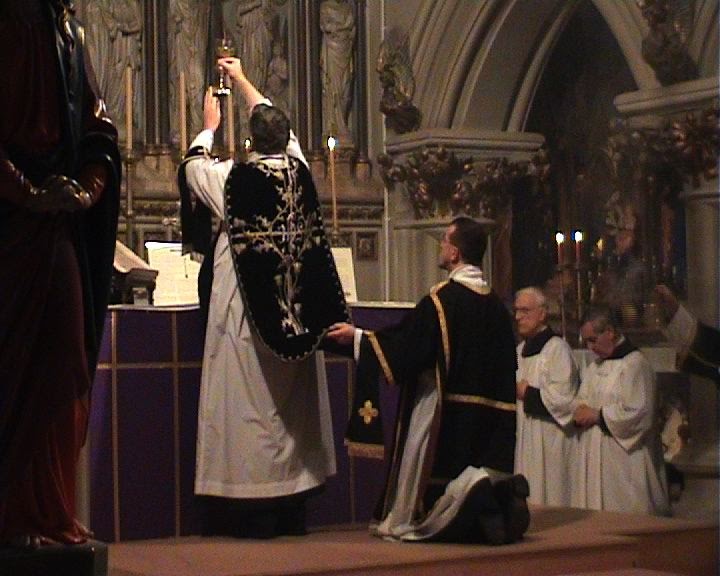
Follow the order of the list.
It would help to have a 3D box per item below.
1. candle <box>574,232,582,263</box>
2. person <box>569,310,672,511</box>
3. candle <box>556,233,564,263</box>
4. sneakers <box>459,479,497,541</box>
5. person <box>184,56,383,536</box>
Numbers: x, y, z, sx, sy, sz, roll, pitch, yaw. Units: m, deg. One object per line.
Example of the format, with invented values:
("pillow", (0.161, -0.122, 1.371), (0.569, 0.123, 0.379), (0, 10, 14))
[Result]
("candle", (1.468, -0.252, 8.965), (0.067, 0.257, 0.192), (-1, -3, 10))
("person", (1.576, 0.764, 8.190), (0.244, 1.242, 0.621), (2, -4, -41))
("candle", (1.365, -0.260, 9.131), (0.068, 0.237, 0.256), (-1, -3, 9))
("sneakers", (0.616, 1.205, 7.116), (0.170, 0.359, 0.110), (-1, -3, 4))
("person", (-0.541, 0.056, 7.320), (0.891, 2.626, 0.430), (0, -3, -9))
